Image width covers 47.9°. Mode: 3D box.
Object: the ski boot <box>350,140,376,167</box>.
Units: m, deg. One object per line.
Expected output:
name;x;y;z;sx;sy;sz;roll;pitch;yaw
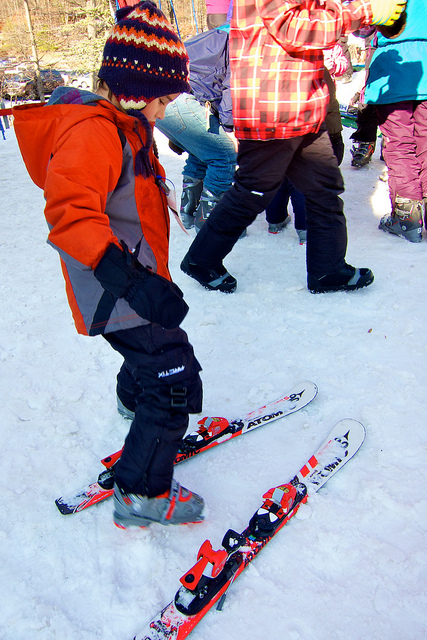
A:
ski boot;1.497;-1.682;4.856;0.137;0.389;0.178;20;-12;18

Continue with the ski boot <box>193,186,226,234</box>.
ski boot;-0.066;-0.866;3.705;0.151;0.340;0.455;-12;23;-15

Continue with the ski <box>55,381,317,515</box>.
ski;-0.092;0.487;1.768;1.004;0.077;0.109;-24;24;-23

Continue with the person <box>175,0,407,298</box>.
person;0.414;-0.929;2.744;1.163;1.582;1.172;3;24;19
